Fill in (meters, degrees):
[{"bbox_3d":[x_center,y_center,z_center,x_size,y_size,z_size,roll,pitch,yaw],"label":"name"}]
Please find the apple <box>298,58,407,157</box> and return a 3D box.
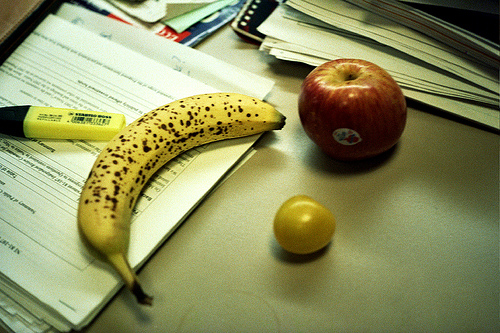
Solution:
[{"bbox_3d":[0.191,-0.108,0.785,0.197,0.157,0.210,0,35,4],"label":"apple"}]
